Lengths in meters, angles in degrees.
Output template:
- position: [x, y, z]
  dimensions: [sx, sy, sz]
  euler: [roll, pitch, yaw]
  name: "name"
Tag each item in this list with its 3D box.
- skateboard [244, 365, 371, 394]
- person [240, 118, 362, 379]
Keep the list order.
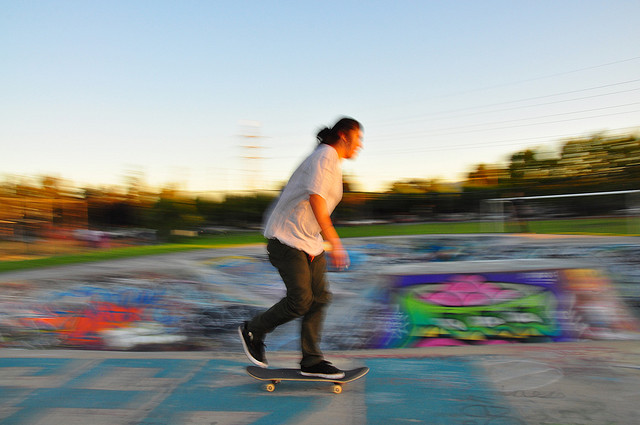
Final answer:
- position: [-0.012, 1.314, 4.029]
  dimensions: [1.341, 0.131, 0.273]
  euler: [2, 5, 1]
  name: "skateboard"
- position: [-0.155, 0.371, 4.033]
  dimensions: [0.853, 2.233, 0.731]
  euler: [2, 17, 9]
  name: "person"
